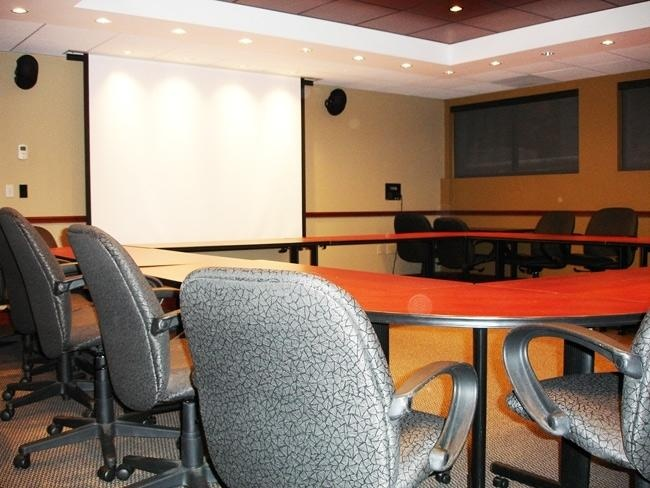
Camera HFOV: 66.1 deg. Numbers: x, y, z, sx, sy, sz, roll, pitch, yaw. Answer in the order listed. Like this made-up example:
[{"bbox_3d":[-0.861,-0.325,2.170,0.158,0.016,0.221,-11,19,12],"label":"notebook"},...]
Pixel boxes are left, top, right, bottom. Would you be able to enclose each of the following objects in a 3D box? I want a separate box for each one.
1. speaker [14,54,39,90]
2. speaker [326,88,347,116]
[{"bbox_3d":[-3.264,-1.892,5.483,0.250,0.376,0.201,-5,10,-28],"label":"speaker"},{"bbox_3d":[0.193,-2.131,7.528,0.380,0.352,0.113,17,15,29],"label":"speaker"}]
